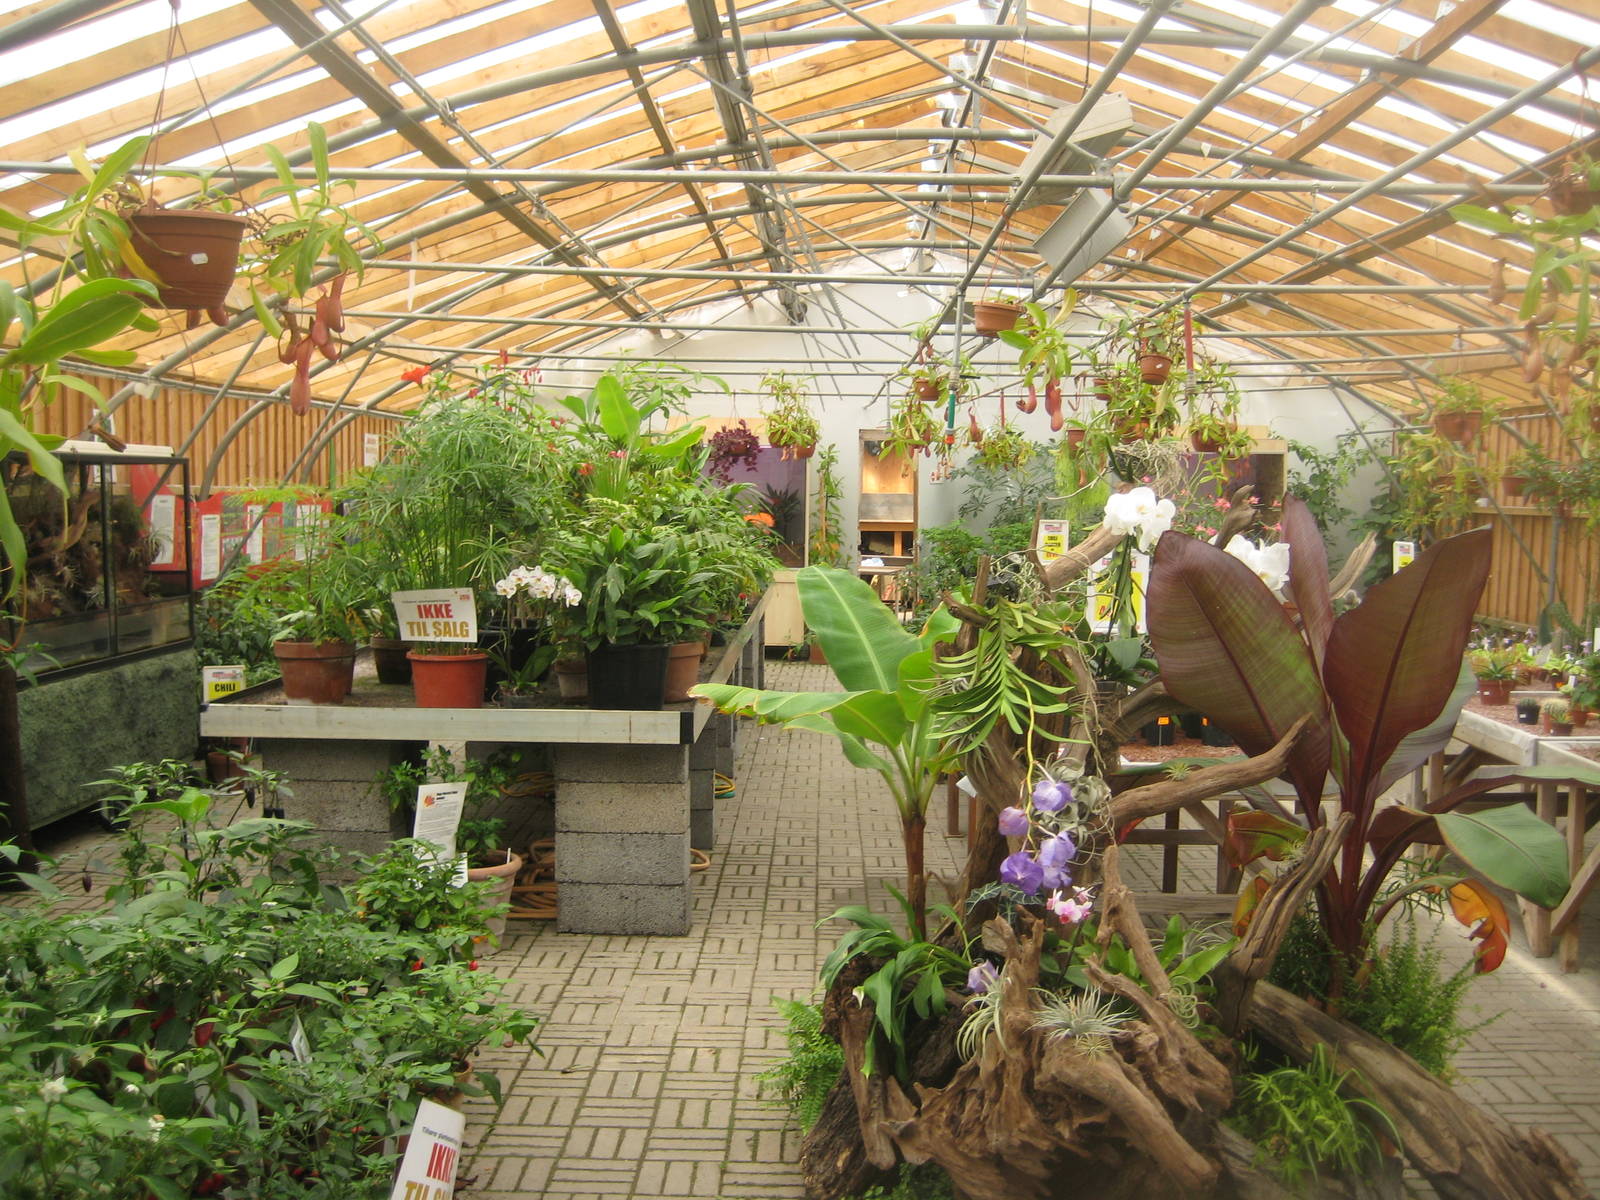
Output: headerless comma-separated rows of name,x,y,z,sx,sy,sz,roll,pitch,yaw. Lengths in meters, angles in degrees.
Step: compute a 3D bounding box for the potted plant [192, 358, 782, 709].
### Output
potted plant,-1.422,-0.313,5.622,2.432,1.325,2.171,0,5,2
